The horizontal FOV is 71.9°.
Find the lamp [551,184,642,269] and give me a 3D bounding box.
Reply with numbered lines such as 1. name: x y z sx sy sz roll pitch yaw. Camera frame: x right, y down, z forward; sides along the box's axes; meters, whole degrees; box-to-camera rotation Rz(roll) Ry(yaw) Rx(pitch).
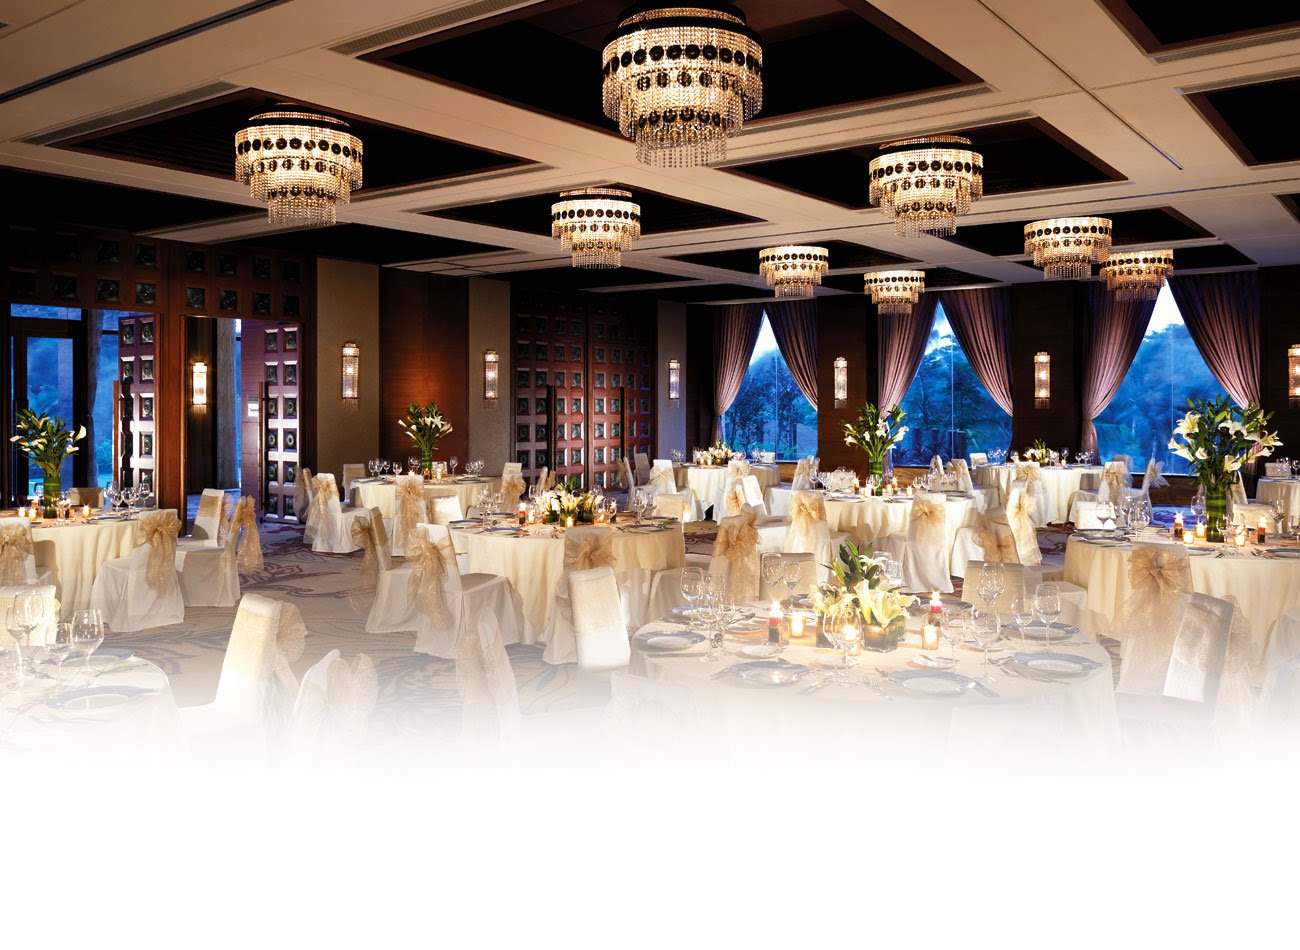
1. lamp: -0.583 -2.723 9.838 0.797 0.662 0.848 -1 5 -5

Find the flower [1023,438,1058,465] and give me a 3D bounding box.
1. flower: 6.381 -0.313 14.653 0.660 0.258 0.721 3 5 35

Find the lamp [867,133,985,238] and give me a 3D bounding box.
1. lamp: 2.579 -2.700 8.462 0.863 0.710 0.919 0 5 -2

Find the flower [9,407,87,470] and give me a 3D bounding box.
1. flower: -7.442 -0.418 11.038 0.872 1.037 0.961 4 -3 -28

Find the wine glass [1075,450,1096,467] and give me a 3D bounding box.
1. wine glass: 7.537 -0.291 15.539 0.251 0.297 0.268 -3 0 23

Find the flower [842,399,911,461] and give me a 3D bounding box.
1. flower: 2.584 -0.474 10.286 0.565 0.705 1.045 2 11 11

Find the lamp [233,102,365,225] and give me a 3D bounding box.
1. lamp: -3.012 -2.619 7.679 0.855 0.709 0.847 -7 11 -41

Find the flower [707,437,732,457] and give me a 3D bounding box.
1. flower: 1.172 -0.414 14.957 0.324 0.369 0.330 -1 -3 5
